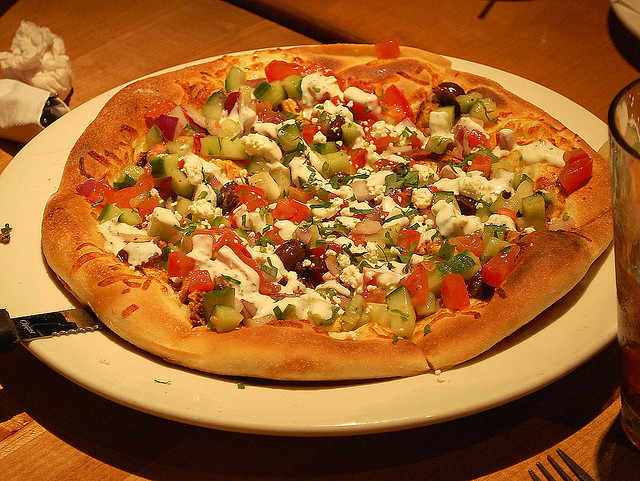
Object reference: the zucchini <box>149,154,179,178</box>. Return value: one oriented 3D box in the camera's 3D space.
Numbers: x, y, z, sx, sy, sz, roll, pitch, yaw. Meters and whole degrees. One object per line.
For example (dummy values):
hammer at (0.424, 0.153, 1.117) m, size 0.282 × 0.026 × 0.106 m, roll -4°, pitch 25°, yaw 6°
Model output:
zucchini at (-0.764, -0.362, 2.647) m, size 0.130 × 0.033 × 0.115 m, roll -3°, pitch 90°, yaw -38°

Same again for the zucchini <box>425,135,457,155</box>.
zucchini at (0.670, -0.548, 3.004) m, size 0.123 × 0.041 × 0.124 m, roll 36°, pitch 53°, yaw 23°

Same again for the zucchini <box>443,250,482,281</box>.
zucchini at (0.616, 0.104, 2.321) m, size 0.128 × 0.044 × 0.127 m, roll -16°, pitch 44°, yaw -16°

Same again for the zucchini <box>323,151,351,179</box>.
zucchini at (0.091, -0.402, 2.908) m, size 0.138 × 0.081 × 0.133 m, roll -1°, pitch 75°, yaw -6°

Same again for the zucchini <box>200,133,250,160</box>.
zucchini at (-0.513, -0.501, 2.889) m, size 0.228 × 0.071 × 0.116 m, roll 6°, pitch 54°, yaw -18°

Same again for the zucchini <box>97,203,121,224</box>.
zucchini at (-0.998, -0.127, 2.562) m, size 0.097 × 0.026 × 0.100 m, roll -23°, pitch 67°, yaw -19°

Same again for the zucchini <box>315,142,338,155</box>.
zucchini at (0.031, -0.499, 2.936) m, size 0.084 × 0.034 × 0.078 m, roll -9°, pitch 82°, yaw 2°

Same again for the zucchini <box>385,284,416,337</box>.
zucchini at (0.345, 0.280, 2.221) m, size 0.127 × 0.161 × 0.146 m, roll -15°, pitch 28°, yaw -41°

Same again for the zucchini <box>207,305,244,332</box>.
zucchini at (-0.365, 0.299, 2.064) m, size 0.105 × 0.075 × 0.099 m, roll 3°, pitch 35°, yaw -11°

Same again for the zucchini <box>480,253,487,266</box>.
zucchini at (0.726, 0.082, 2.419) m, size 0.031 × 0.014 × 0.085 m, roll 4°, pitch 24°, yaw 10°

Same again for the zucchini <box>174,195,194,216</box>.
zucchini at (-0.673, -0.167, 2.693) m, size 0.093 × 0.089 × 0.090 m, roll 4°, pitch 73°, yaw -7°

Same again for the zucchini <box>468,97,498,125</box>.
zucchini at (0.942, -0.744, 3.118) m, size 0.141 × 0.078 × 0.145 m, roll 26°, pitch 57°, yaw 22°

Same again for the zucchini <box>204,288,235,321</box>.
zucchini at (-0.408, 0.250, 2.102) m, size 0.124 × 0.033 × 0.115 m, roll 1°, pitch 84°, yaw 12°

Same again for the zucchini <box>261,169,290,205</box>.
zucchini at (-0.252, -0.300, 2.781) m, size 0.166 × 0.044 × 0.169 m, roll -7°, pitch 76°, yaw -13°

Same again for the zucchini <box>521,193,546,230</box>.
zucchini at (1.012, -0.129, 2.576) m, size 0.093 × 0.168 × 0.092 m, roll -29°, pitch 35°, yaw -23°
